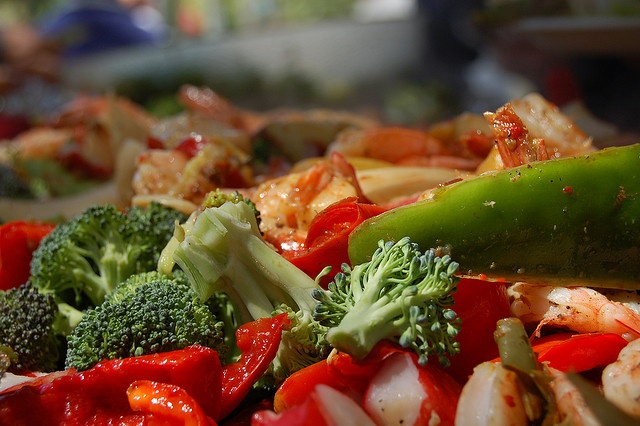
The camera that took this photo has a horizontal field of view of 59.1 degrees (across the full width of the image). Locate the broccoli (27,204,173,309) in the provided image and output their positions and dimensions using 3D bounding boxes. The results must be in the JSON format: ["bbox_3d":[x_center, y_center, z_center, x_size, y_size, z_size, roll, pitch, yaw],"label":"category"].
[{"bbox_3d":[-0.614,0.096,1.665,0.349,0.326,0.260,-1,5,44],"label":"broccoli"}]

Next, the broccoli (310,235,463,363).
[{"bbox_3d":[0.151,0.199,1.355,0.271,0.295,0.244,-10,59,-3],"label":"broccoli"}]

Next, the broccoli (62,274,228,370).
[{"bbox_3d":[-0.437,0.265,1.378,0.262,0.113,0.269,-4,35,-3],"label":"broccoli"}]

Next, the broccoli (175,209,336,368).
[{"bbox_3d":[-0.170,0.148,1.372,0.316,0.241,0.423,1,82,-38],"label":"broccoli"}]
